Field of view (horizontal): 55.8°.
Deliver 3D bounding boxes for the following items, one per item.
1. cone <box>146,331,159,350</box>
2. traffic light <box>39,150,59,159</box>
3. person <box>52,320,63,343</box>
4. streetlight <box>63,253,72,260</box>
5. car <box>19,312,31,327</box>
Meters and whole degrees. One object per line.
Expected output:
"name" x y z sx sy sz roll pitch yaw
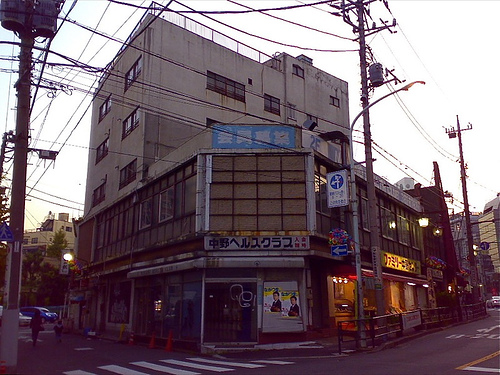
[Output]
"cone" -5.832 9.152 28.230 0.881 1.012 0.927 5 -13 -12
"traffic light" -9.977 -1.644 23.222 0.823 0.396 0.283 7 -21 -29
"person" -12.599 9.477 30.935 0.514 1.354 0.896 5 -20 -23
"streetlight" -14.479 5.474 37.394 0.460 0.634 1.241 7 -22 -28
"car" -23.387 13.631 48.855 0.977 1.545 3.402 6 -21 -25
